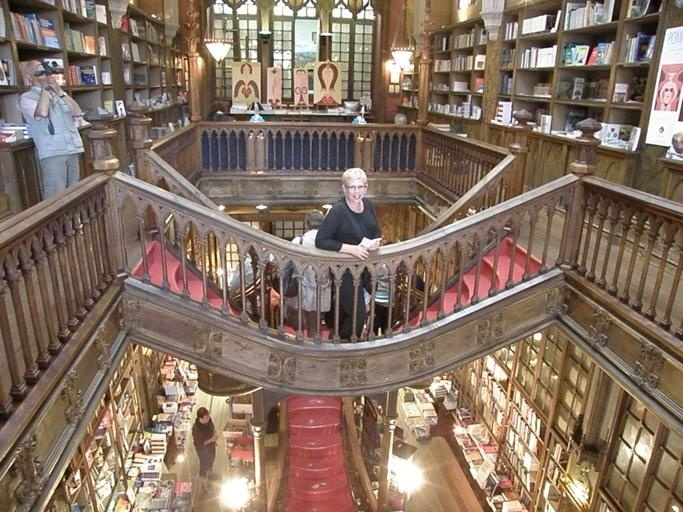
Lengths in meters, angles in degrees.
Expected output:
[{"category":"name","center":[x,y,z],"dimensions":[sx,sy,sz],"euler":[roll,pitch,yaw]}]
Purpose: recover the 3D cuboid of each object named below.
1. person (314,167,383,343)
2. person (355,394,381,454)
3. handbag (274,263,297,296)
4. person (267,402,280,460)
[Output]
[{"category":"person","center":[0.149,0.077,3.896],"dimensions":[0.513,0.496,1.627],"euler":[-17,-56,-13]},{"category":"person","center":[0.454,2.611,7.305],"dimensions":[0.282,0.757,0.474],"euler":[3,-58,-8]},{"category":"handbag","center":[-0.467,0.201,4.012],"dimensions":[0.178,0.275,0.091],"euler":[-1,-5,35]},{"category":"person","center":[-1.039,2.631,7.069],"dimensions":[0.186,0.816,0.136],"euler":[-9,-56,0]}]
